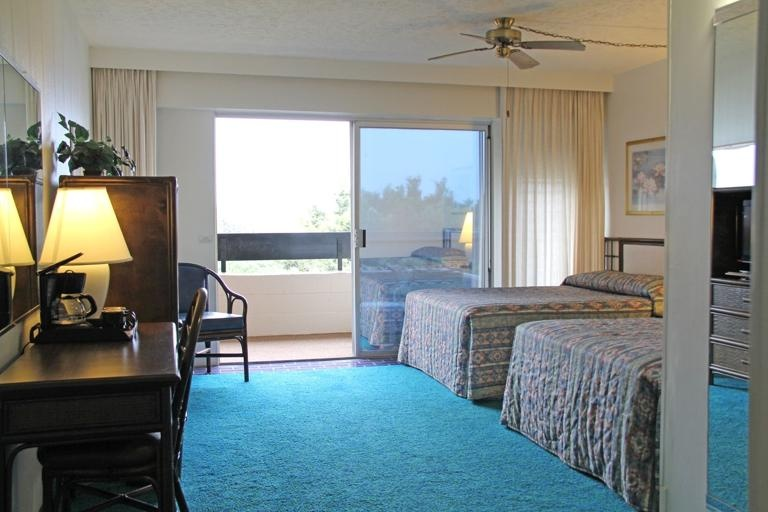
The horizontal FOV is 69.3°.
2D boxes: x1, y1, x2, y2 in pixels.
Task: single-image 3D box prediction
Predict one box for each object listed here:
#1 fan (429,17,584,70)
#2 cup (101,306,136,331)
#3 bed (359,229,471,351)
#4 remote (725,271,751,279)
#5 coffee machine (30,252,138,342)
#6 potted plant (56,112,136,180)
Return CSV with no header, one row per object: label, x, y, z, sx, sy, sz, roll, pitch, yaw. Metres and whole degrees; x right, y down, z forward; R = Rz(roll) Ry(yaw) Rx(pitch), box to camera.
fan,1.100,-1.704,4.430,0.731,0.176,0.722,-2,1,2
cup,-1.388,0.334,2.930,0.162,0.103,0.105,4,2,-16
bed,0.244,0.316,6.256,1.244,0.763,1.238,-3,6,-19
remote,1.489,0.079,2.336,0.051,0.016,0.031,-4,19,17
coffee machine,-1.520,0.226,2.916,0.468,0.427,0.497,0,1,-19
potted plant,-1.988,-0.679,3.790,0.567,0.380,0.567,-2,-1,-21
